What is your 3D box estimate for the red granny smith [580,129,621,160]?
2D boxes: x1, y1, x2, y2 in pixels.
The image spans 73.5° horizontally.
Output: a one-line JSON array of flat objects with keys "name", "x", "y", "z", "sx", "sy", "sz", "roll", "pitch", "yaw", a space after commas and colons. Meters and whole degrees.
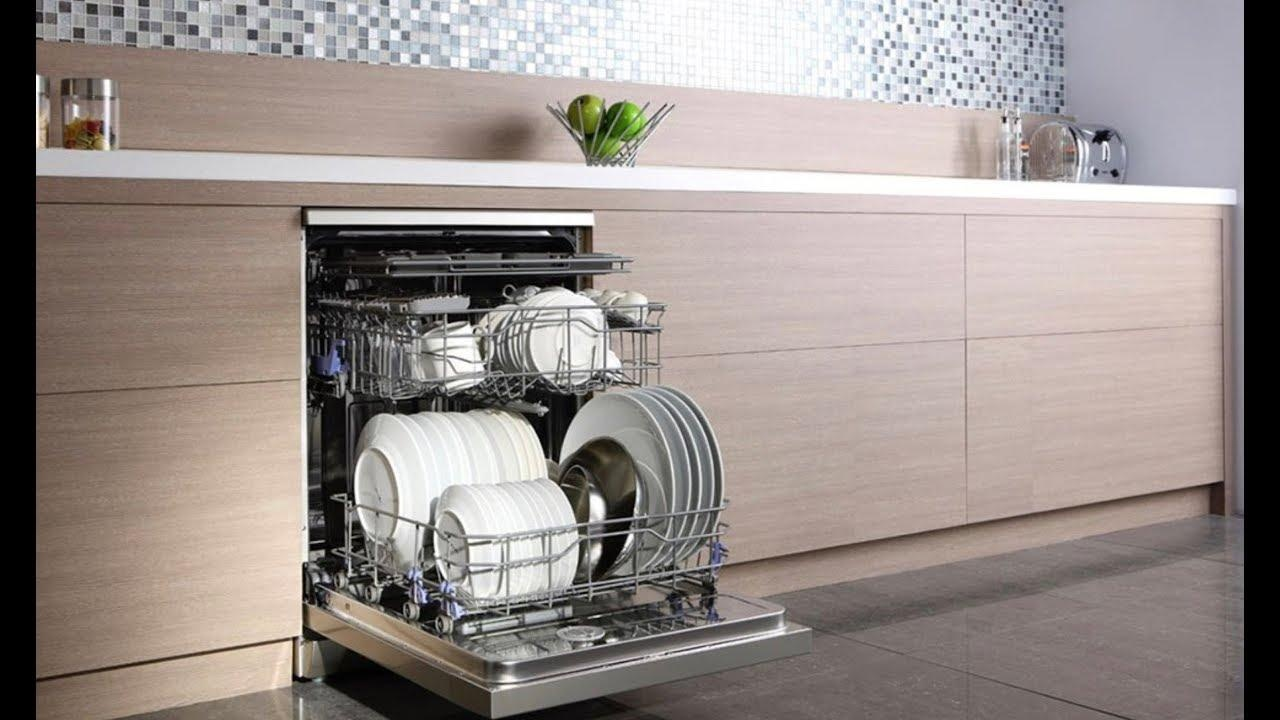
[{"name": "red granny smith", "x": -0.118, "y": -0.647, "z": 2.591, "sx": 0.093, "sy": 0.081, "sz": 0.088, "roll": 20, "pitch": 19, "yaw": -24}]

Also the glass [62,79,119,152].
[{"name": "glass", "x": -1.330, "y": -0.586, "z": 2.095, "sx": 0.139, "sy": 0.164, "sz": 0.111, "roll": 1, "pitch": 1, "yaw": -3}]

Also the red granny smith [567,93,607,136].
[{"name": "red granny smith", "x": -0.185, "y": -0.754, "z": 2.616, "sx": 0.132, "sy": 0.107, "sz": 0.122, "roll": -17, "pitch": 26, "yaw": -23}]

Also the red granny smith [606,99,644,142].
[{"name": "red granny smith", "x": -0.040, "y": -0.717, "z": 2.582, "sx": 0.129, "sy": 0.105, "sz": 0.140, "roll": 2, "pitch": 3, "yaw": 9}]

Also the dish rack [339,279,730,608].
[{"name": "dish rack", "x": -0.252, "y": 0.160, "z": 1.851, "sx": 0.681, "sy": 0.614, "sz": 0.580, "roll": -5, "pitch": 10, "yaw": -26}]
